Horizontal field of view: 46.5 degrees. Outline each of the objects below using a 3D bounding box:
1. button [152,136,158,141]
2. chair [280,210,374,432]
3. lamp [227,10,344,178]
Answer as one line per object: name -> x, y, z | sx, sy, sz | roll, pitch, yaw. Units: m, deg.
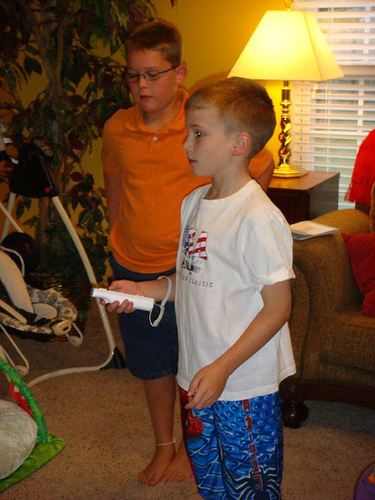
button -> -0.080, -0.273, 1.066 | 0.009, 0.008, 0.002 | -2, -2, 13
chair -> 0.514, 0.292, 1.553 | 0.298, 0.680, 0.356 | 3, 14, 21
lamp -> 0.480, -0.770, 2.179 | 0.409, 0.817, 0.427 | -15, 18, -42
